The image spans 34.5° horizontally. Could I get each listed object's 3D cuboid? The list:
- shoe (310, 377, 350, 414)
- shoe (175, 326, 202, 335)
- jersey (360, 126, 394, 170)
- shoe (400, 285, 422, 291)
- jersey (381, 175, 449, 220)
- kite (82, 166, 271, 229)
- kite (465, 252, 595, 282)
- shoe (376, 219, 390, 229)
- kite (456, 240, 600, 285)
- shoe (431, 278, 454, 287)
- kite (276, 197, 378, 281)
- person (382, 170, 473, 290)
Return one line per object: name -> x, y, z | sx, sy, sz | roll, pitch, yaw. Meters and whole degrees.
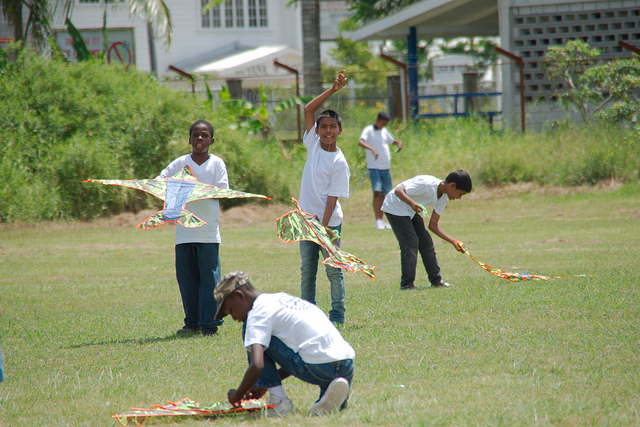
shoe -> 0.212, 2.786, 16.063 | 0.304, 0.832, 0.317 | 40, 4, 1
shoe -> -2.312, 2.020, 18.105 | 0.483, 0.216, 0.168 | 10, -5, -2
jersey -> 1.354, -1.535, 24.170 | 0.958, 1.150, 0.433 | 2, -6, -33
shoe -> 1.716, 1.382, 19.502 | 0.385, 0.173, 0.132 | 1, 2, -3
jersey -> 1.723, -0.326, 19.576 | 0.915, 0.523, 0.838 | -4, -4, 20
kite -> -2.495, -0.295, 18.090 | 1.926, 1.058, 0.612 | -3, 6, -4
kite -> 4.001, 1.045, 19.840 | 2.431, 0.530, 0.436 | 1, -6, -14
shoe -> 1.506, 0.243, 24.328 | 0.134, 0.184, 0.412 | -10, 7, -35
kite -> 4.071, 0.967, 19.828 | 3.175, 0.918, 1.001 | 0, 2, 13
shoe -> 2.323, 1.301, 19.616 | 0.390, 0.174, 0.137 | 0, 1, 1
kite -> 0.055, 0.518, 17.916 | 1.978, 0.478, 1.019 | 45, 29, 13
person -> 1.951, 0.301, 19.543 | 1.550, 2.194, 0.762 | -2, 6, 9
